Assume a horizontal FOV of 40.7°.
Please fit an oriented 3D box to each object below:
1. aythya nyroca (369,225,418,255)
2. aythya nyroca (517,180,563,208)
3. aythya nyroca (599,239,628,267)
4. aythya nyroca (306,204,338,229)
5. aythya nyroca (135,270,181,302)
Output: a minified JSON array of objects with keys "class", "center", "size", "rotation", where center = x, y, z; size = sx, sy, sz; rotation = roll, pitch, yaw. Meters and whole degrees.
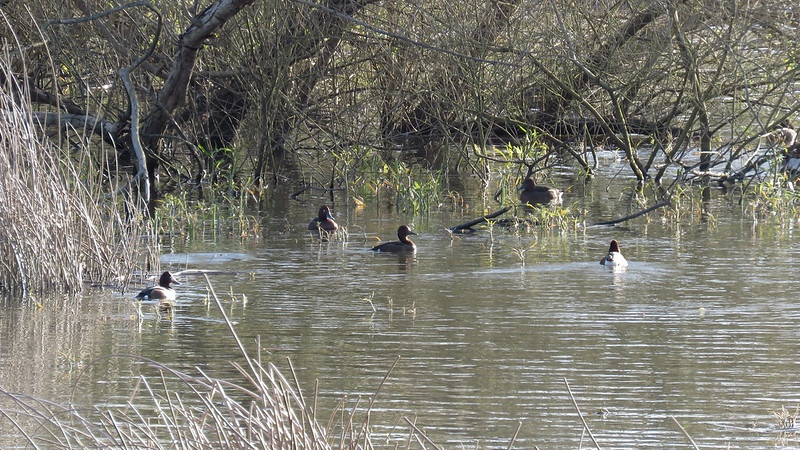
[{"class":"aythya nyroca","center":[-0.107,0.276,19.000],"size":[0.811,0.384,0.418],"rotation":[-4,6,-13]},{"class":"aythya nyroca","center":[3.049,-0.693,24.068],"size":[1.011,0.641,0.574],"rotation":[0,-2,18]},{"class":"aythya nyroca","center":[3.565,0.482,17.897],"size":[0.309,0.347,0.584],"rotation":[2,16,14]},{"class":"aythya nyroca","center":[-1.520,-0.101,20.396],"size":[0.409,0.391,0.606],"rotation":[-2,-1,-37]},{"class":"aythya nyroca","center":[-3.642,0.891,16.083],"size":[0.570,0.380,0.831],"rotation":[-2,13,-12]}]
